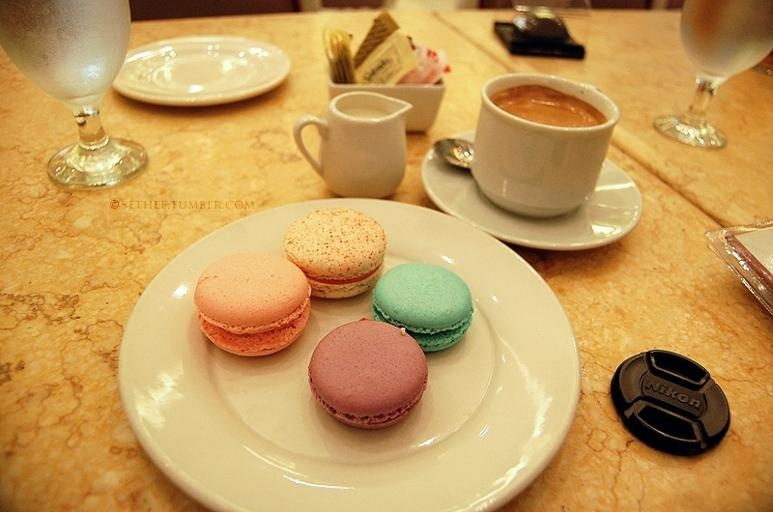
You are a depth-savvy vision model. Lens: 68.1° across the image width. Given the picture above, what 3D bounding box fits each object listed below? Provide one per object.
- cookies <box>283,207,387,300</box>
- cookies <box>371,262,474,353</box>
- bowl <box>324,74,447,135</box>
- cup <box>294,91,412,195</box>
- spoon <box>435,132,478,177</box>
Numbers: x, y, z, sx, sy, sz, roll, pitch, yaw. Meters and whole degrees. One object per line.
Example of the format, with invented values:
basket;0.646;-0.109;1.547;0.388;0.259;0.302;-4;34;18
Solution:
cookies;-0.104;-0.012;1.163;0.181;0.090;0.175;-4;39;-8
cookies;0.074;0.085;1.118;0.184;0.093;0.174;3;48;-28
bowl;0.010;-0.372;1.403;0.207;0.089;0.136;-1;34;-2
cup;-0.083;-0.271;1.312;0.276;0.210;0.185;-6;43;-8
spoon;0.160;-0.243;1.344;0.106;0.021;0.094;4;45;-21
